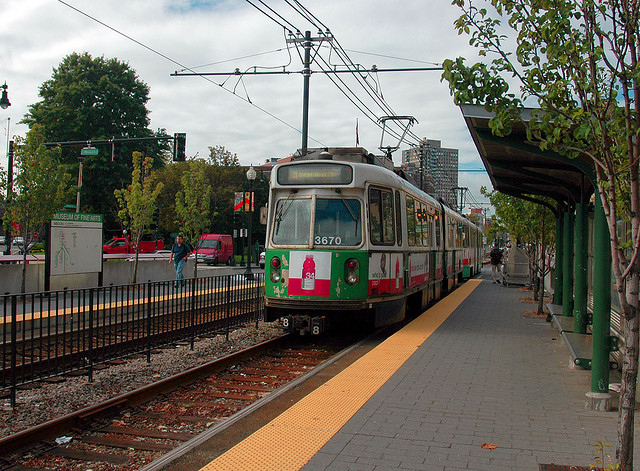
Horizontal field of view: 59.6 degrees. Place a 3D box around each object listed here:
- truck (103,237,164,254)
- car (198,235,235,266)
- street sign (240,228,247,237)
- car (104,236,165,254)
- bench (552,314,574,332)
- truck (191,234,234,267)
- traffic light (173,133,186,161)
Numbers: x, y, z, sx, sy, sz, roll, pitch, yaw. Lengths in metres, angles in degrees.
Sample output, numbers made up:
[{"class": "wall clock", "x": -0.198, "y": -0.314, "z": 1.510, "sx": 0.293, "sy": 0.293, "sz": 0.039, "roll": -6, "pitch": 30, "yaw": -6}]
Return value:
[{"class": "truck", "x": -13.326, "y": 0.749, "z": 39.415, "sx": 3.181, "sy": 1.271, "sz": 1.077, "roll": 2, "pitch": -3, "yaw": -21}, {"class": "car", "x": -8.143, "y": 1.118, "z": 43.936, "sx": 1.492, "sy": 1.778, "sz": 3.240, "roll": -2, "pitch": -6, "yaw": 16}, {"class": "street sign", "x": -5.340, "y": -0.128, "z": 38.763, "sx": 0.605, "sy": 0.681, "sz": 0.644, "roll": -1, "pitch": -11, "yaw": 3}, {"class": "car", "x": -13.523, "y": 0.703, "z": 39.926, "sx": 3.516, "sy": 1.347, "sz": 1.171, "roll": 2, "pitch": -4, "yaw": -22}, {"class": "bench", "x": 4.832, "y": 1.730, "z": 11.066, "sx": 0.370, "sy": 0.127, "sz": 2.310, "roll": -1, "pitch": -3, "yaw": 25}, {"class": "truck", "x": -8.595, "y": 1.022, "z": 44.483, "sx": 1.959, "sy": 2.476, "sz": 4.576, "roll": 2, "pitch": 0, "yaw": 12}, {"class": "traffic light", "x": -5.122, "y": -3.183, "z": 20.168, "sx": 0.406, "sy": 0.963, "sz": 0.700, "roll": 1, "pitch": -2, "yaw": -16}]
